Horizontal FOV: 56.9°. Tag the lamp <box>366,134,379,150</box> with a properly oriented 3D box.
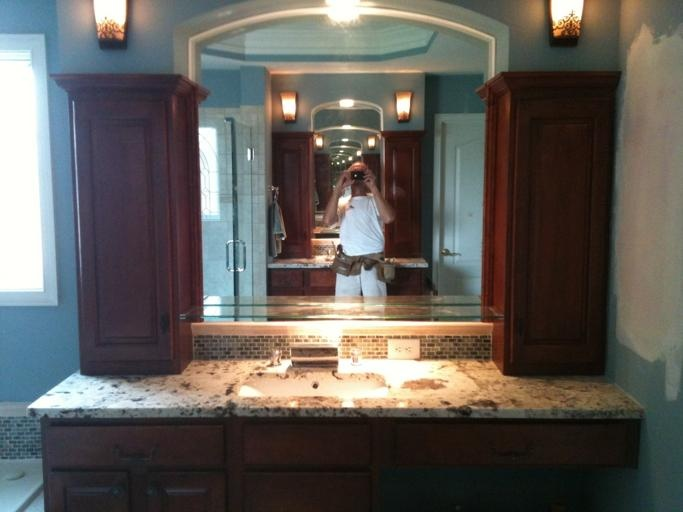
[{"bbox_3d":[0.152,-0.541,3.031,0.064,0.091,0.066,1,-2,-6],"label":"lamp"}]

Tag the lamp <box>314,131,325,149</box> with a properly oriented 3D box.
[{"bbox_3d":[-0.101,-0.553,2.958,0.063,0.120,0.064,0,9,0],"label":"lamp"}]
